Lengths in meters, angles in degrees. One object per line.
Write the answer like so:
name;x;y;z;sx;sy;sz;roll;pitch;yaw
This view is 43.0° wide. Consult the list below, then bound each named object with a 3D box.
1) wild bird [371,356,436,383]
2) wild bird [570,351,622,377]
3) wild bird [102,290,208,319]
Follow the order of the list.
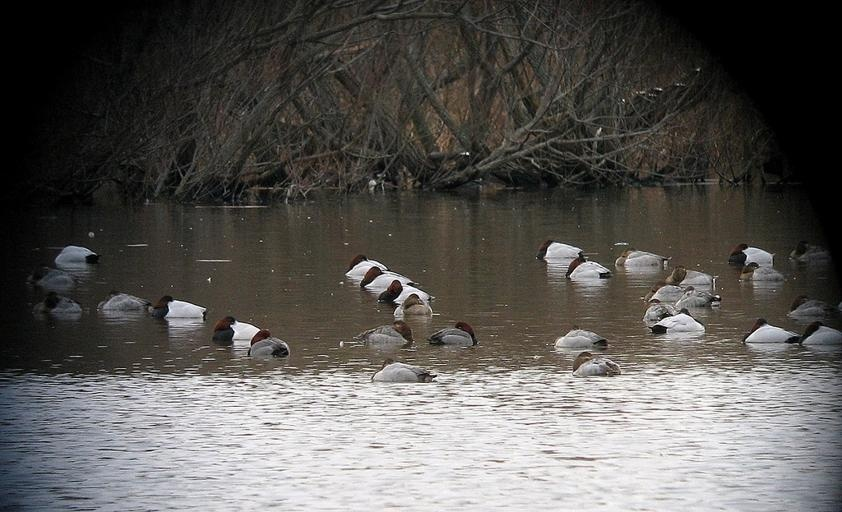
wild bird;-0.220;1.323;12.583;0.682;0.237;0.282;1;-4;4
wild bird;2.054;1.266;12.782;0.325;0.156;0.421;0;1;-44
wild bird;-4.175;0.749;16.546;1.884;0.421;0.729;-3;-5;39
